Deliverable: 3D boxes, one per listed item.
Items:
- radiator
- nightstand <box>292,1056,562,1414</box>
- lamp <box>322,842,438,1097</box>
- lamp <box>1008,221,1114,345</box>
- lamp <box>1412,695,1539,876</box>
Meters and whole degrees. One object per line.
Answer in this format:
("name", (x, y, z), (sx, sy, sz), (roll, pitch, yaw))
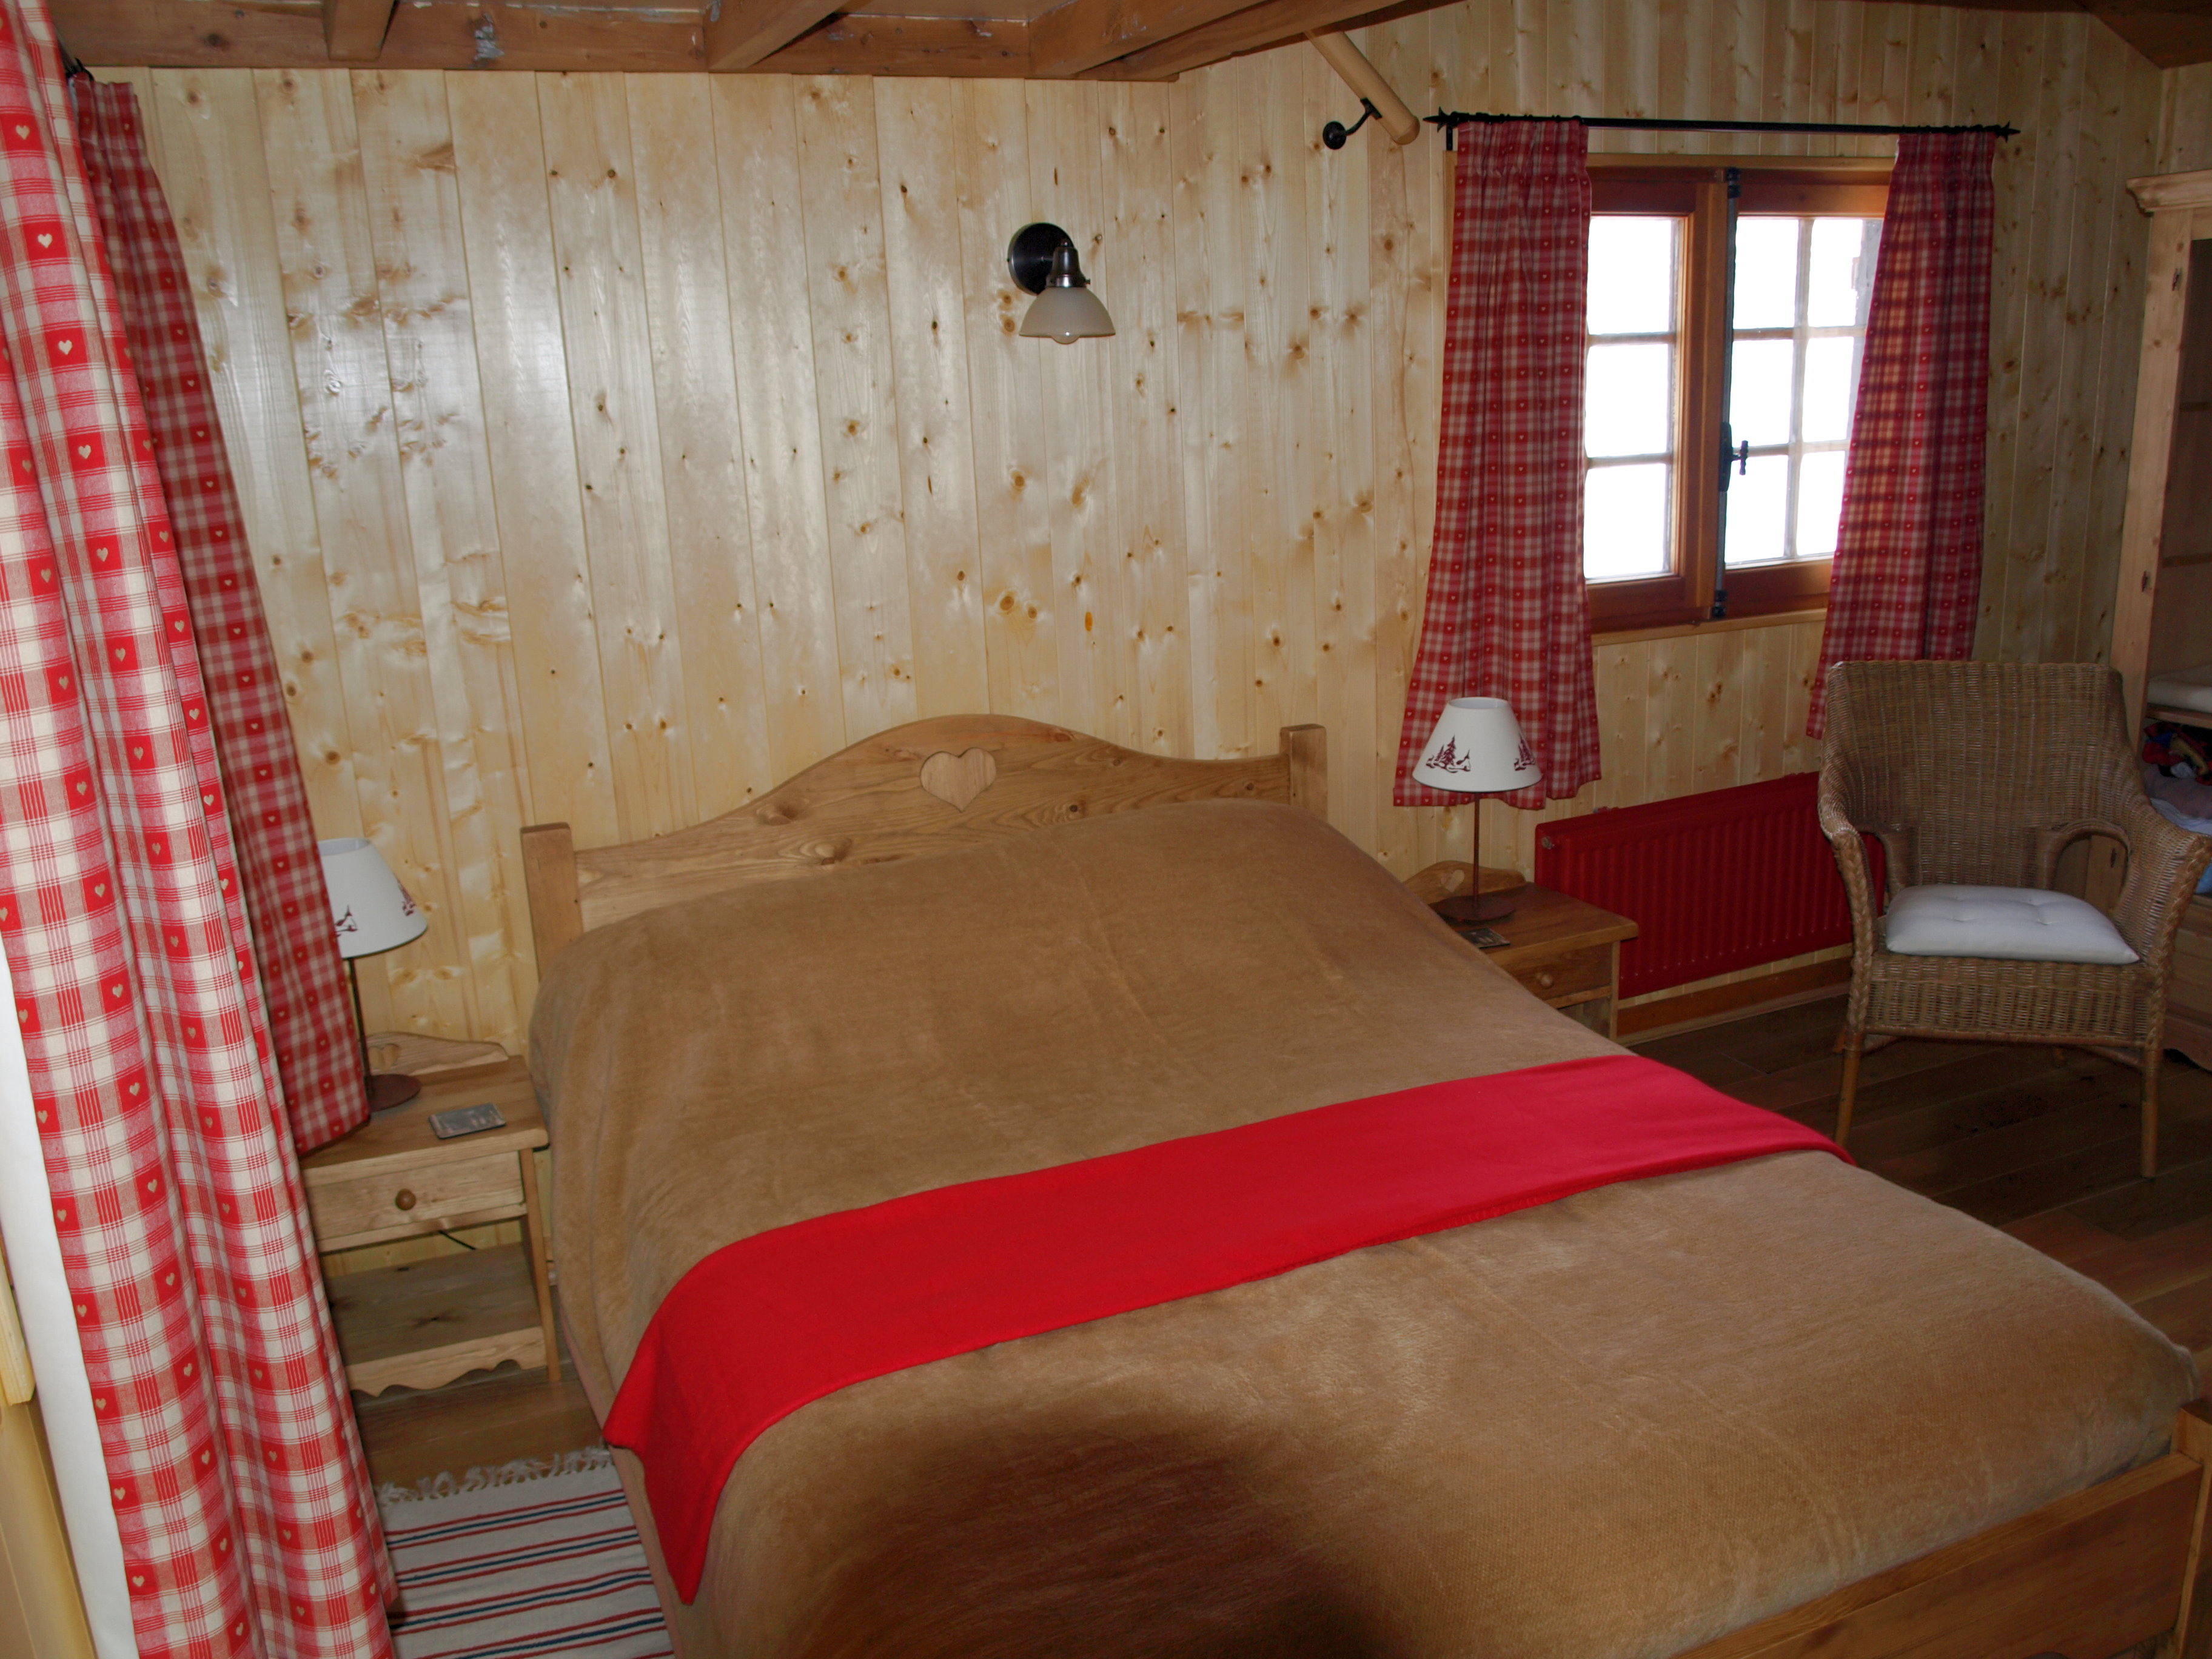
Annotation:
("radiator", (1.887, 0.169, 5.421), (1.408, 0.633, 0.140), (-6, 18, -38))
("nightstand", (-1.477, 0.947, 3.817), (0.528, 0.474, 0.368), (-9, -4, -10))
("lamp", (-1.589, 0.289, 3.781), (0.176, 0.577, 0.404), (-8, 17, -21))
("lamp", (-0.102, -1.297, 4.069), (0.229, 0.270, 0.235), (-13, 23, -27))
("lamp", (0.987, -0.090, 4.613), (0.323, 0.566, 0.294), (7, 32, 22))
